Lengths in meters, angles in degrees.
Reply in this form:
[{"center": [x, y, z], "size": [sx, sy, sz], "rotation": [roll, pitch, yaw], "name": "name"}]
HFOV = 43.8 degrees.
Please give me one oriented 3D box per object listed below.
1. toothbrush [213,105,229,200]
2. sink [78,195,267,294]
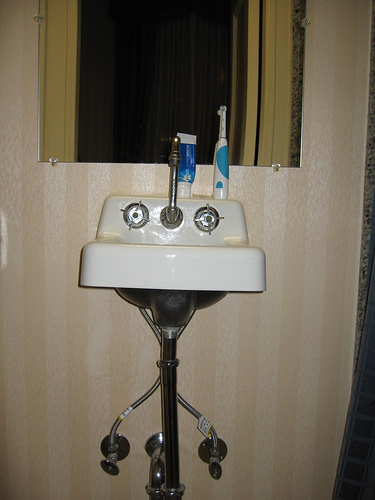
[{"center": [0.096, -0.250, 1.245], "size": [0.036, 0.294, 0.043], "rotation": [9, -21, -23], "name": "toothbrush"}, {"center": [-0.031, -0.029, 1.048], "size": [0.373, 0.159, 0.311], "rotation": [5, -3, -4], "name": "sink"}]
